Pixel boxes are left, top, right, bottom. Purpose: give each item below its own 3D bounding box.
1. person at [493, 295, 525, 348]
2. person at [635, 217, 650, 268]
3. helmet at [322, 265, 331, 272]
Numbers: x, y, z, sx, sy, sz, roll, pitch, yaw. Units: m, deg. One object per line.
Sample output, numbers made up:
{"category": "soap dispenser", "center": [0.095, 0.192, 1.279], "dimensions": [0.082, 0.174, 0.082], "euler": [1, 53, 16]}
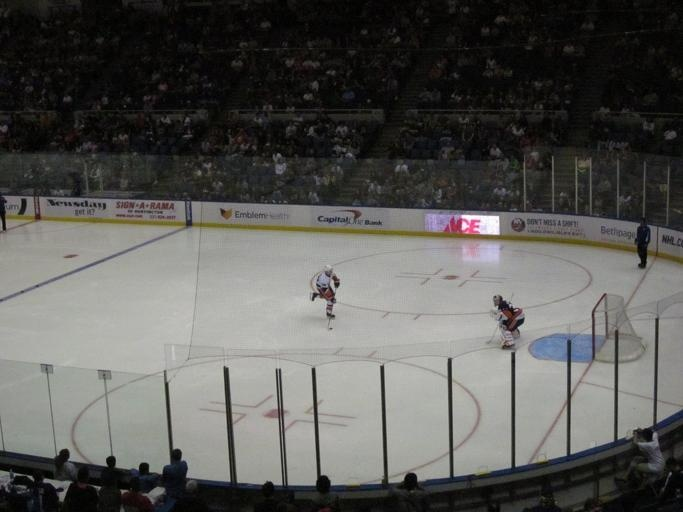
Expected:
{"category": "person", "center": [3.743, 1.460, 20.973], "dimensions": [0.699, 1.103, 0.815], "euler": [-7, 6, 42]}
{"category": "person", "center": [8.756, -0.366, 26.940], "dimensions": [0.372, 1.453, 0.951], "euler": [0, 3, 17]}
{"category": "helmet", "center": [-0.354, 0.337, 23.226], "dimensions": [0.190, 0.184, 0.140], "euler": [-15, 37, -2]}
